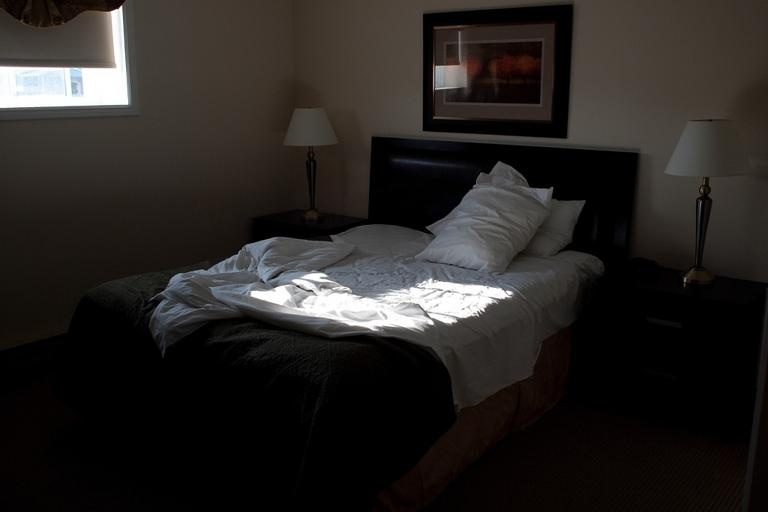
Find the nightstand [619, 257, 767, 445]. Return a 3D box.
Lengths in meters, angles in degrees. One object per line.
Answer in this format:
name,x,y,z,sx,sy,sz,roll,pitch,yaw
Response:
nightstand,1.820,0.500,3.773,1.189,1.143,0.829,4,11,23

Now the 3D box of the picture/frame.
picture/frame,0.923,-1.471,4.242,1.137,0.931,0.081,7,15,28
